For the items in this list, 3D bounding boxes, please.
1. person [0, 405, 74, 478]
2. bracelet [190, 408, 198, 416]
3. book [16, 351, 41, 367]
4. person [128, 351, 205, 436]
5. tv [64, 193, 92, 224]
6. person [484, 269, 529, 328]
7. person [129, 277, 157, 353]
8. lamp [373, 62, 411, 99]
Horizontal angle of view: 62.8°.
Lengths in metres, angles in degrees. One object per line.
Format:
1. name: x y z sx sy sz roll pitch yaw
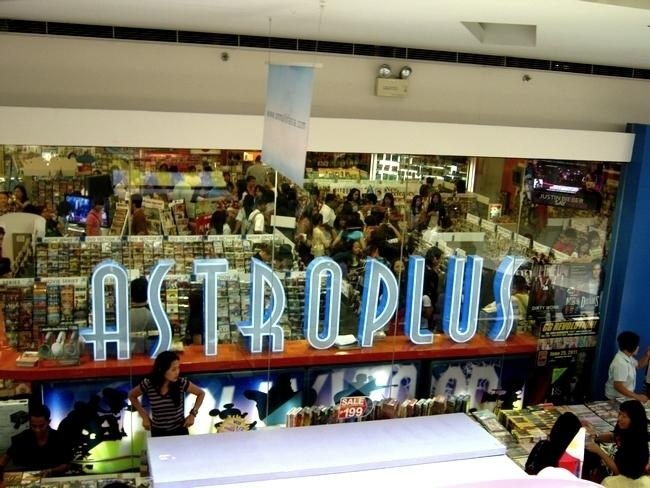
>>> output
1. person: -3.031 2.067 5.558 0.645 0.775 0.283 2 0 -12
2. bracelet: -1.428 1.810 5.711 0.062 0.034 0.084 3 10 2
3. book: -3.110 1.194 5.545 0.225 0.173 0.055 2 0 -8
4. person: -1.716 1.564 5.611 0.616 0.925 0.541 2 0 21
5. tv: -2.553 -0.375 5.424 0.277 0.270 0.142 3 11 -18
6. person: 2.455 0.742 7.128 0.526 0.750 0.155 6 12 -9
7. person: -2.004 0.775 5.768 0.264 0.874 0.150 2 -1 -18
8. lamp: 0.744 -1.899 6.133 0.374 0.342 0.153 3 19 -10
